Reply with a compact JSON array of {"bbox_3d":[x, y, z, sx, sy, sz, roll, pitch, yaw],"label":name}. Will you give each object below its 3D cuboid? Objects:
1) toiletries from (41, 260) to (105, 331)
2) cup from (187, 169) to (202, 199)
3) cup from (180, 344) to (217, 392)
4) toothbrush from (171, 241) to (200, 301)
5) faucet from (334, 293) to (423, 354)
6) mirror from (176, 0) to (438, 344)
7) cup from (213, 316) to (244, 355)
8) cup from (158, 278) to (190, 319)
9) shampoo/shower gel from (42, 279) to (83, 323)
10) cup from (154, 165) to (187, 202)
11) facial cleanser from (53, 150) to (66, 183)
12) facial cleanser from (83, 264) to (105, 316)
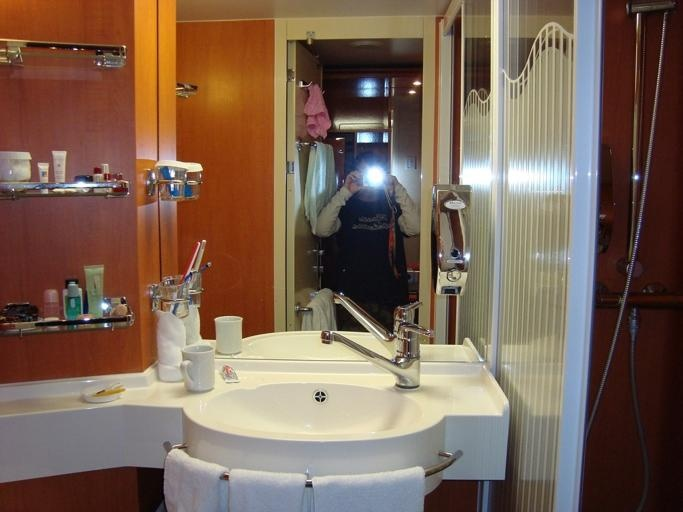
[{"bbox_3d":[-0.868,0.148,2.118,0.214,0.272,0.155,4,-3,-43],"label":"toiletries"},{"bbox_3d":[-0.524,-0.254,2.261,0.042,0.098,0.077,1,7,20],"label":"cup"},{"bbox_3d":[-0.481,0.384,2.178,0.087,0.145,0.153,1,7,9],"label":"cup"},{"bbox_3d":[-0.546,0.051,2.273,0.053,0.253,0.058,-7,-35,23],"label":"toothbrush"},{"bbox_3d":[0.134,0.242,2.258,0.058,0.211,0.338,-9,28,-39],"label":"faucet"},{"bbox_3d":[-0.108,-0.351,2.278,1.013,1.426,0.096,0,7,3],"label":"mirror"},{"bbox_3d":[-0.421,0.290,2.344,0.113,0.145,0.121,1,1,0],"label":"cup"},{"bbox_3d":[-0.567,0.152,2.186,0.110,0.174,0.115,0,-3,0],"label":"cup"},{"bbox_3d":[-0.941,0.153,2.115,0.119,0.167,0.045,0,-1,-6],"label":"shampoo/shower gel"},{"bbox_3d":[-0.597,-0.250,2.218,0.101,0.124,0.105,-1,4,0],"label":"cup"},{"bbox_3d":[-0.920,-0.285,2.049,0.041,0.025,0.138,-8,-36,-30],"label":"facial cleanser"},{"bbox_3d":[-0.838,0.121,2.142,0.068,0.238,0.037,-8,41,-29],"label":"facial cleanser"}]
